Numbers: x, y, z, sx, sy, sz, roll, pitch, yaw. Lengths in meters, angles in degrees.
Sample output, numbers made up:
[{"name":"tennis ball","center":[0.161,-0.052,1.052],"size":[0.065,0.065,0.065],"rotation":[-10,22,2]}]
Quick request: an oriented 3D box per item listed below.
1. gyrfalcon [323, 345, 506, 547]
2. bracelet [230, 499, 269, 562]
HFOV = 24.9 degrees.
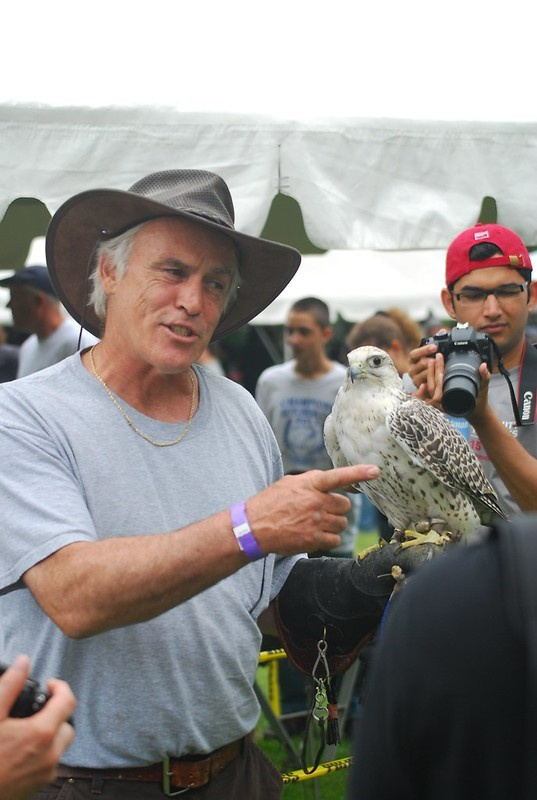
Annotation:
[{"name":"gyrfalcon","center":[0.433,0.163,3.770],"size":[0.394,0.670,0.322],"rotation":[0,0,-42]},{"name":"bracelet","center":[-0.060,0.303,2.809],"size":[0.092,0.129,0.126],"rotation":[-25,2,-1]}]
